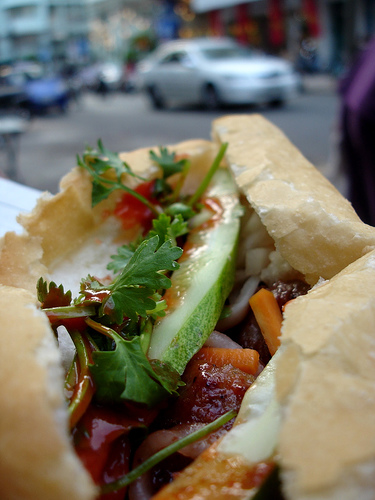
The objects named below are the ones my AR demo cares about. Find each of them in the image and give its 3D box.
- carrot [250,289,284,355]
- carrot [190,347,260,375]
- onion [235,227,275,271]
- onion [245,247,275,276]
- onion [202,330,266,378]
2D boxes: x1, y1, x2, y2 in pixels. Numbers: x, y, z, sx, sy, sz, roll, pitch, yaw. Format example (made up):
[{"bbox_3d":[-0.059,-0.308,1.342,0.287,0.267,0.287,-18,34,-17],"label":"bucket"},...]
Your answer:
[{"bbox_3d":[0.169,0.145,1.057,0.058,0.039,0.143,-10,42,15],"label":"carrot"},{"bbox_3d":[0.084,0.215,0.977,0.118,0.021,0.055,2,17,13],"label":"carrot"},{"bbox_3d":[0.168,-0.014,1.272,0.084,0.100,0.127,-14,25,-21],"label":"onion"},{"bbox_3d":[0.173,0.027,1.225,0.076,0.066,0.030,-2,1,23],"label":"onion"},{"bbox_3d":[0.081,0.195,0.998,0.115,0.076,0.085,-14,23,-35],"label":"onion"}]
